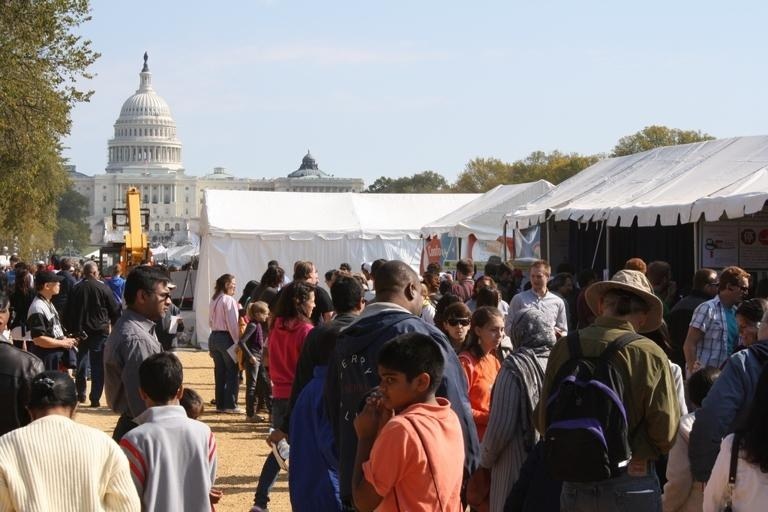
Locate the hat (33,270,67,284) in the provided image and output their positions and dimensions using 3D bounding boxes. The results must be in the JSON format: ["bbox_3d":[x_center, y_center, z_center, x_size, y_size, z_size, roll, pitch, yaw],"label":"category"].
[{"bbox_3d":[-4.244,0.272,14.676,0.317,0.182,0.235,-4,9,-14],"label":"hat"}]

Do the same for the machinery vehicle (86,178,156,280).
[{"bbox_3d":[-6.712,-0.564,30.468,1.188,2.736,3.869,5,-2,-17],"label":"machinery vehicle"}]

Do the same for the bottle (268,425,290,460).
[{"bbox_3d":[-1.016,1.788,11.112,0.178,0.326,0.701,-1,-3,-5],"label":"bottle"}]

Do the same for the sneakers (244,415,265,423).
[{"bbox_3d":[-1.734,2.165,15.548,0.182,0.080,0.093,-2,0,-1],"label":"sneakers"}]

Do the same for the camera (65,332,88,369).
[{"bbox_3d":[-4.181,1.252,15.773,0.241,0.459,0.119,15,-16,4],"label":"camera"}]

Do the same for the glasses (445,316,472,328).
[{"bbox_3d":[0.712,0.635,11.261,0.218,0.083,0.113,-1,-3,1],"label":"glasses"}]

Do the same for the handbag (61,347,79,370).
[{"bbox_3d":[-4.246,1.395,15.789,0.325,0.275,0.328,-1,6,-16],"label":"handbag"}]

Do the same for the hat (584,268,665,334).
[{"bbox_3d":[2.034,0.379,9.942,0.627,0.533,0.361,-2,-3,9],"label":"hat"}]
